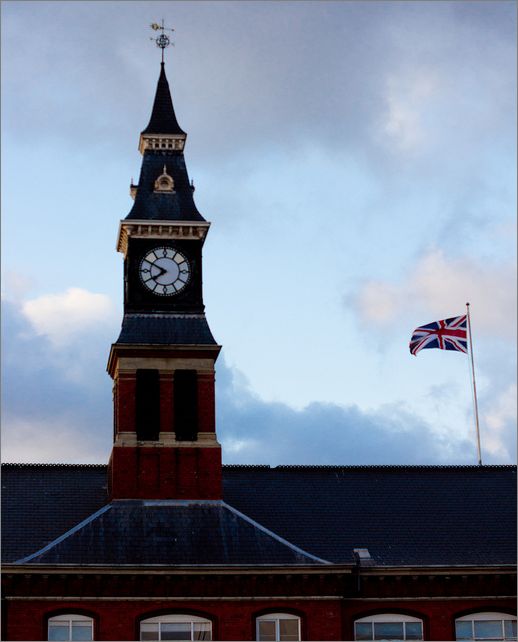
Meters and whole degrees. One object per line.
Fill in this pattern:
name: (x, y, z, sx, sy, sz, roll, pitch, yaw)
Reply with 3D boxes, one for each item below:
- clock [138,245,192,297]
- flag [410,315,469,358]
clock: (-3.692, -1.641, 64.443, 1.938, 1.896, 0.156, 1, -10, -3)
flag: (6.516, 0.691, 63.150, 1.584, 1.351, 0.220, -1, -18, 9)
